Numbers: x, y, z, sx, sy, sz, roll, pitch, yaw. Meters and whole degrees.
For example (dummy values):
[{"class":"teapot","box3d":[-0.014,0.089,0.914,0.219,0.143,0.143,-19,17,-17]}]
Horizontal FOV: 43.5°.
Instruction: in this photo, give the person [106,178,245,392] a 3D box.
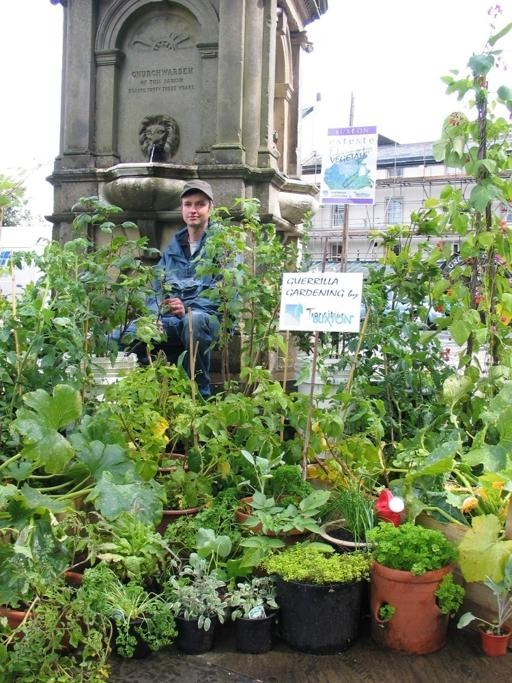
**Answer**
[{"class":"person","box3d":[-0.468,-0.319,3.677,0.529,1.303,1.040,0,2,-8]}]
